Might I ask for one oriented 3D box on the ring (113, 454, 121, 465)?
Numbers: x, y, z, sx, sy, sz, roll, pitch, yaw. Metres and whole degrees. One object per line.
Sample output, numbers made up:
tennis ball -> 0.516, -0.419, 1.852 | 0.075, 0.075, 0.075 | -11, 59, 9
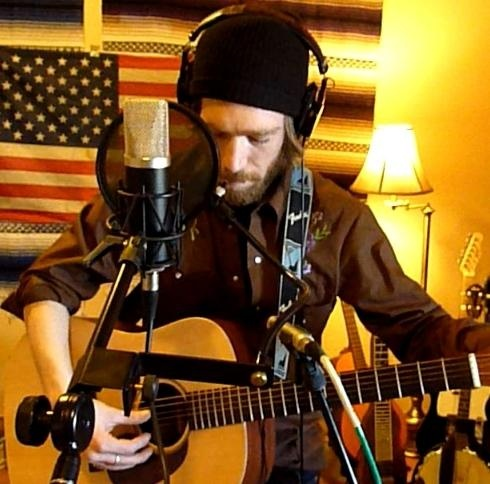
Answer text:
ring -> -0.384, 0.641, 2.023 | 0.017, 0.035, 0.007 | 1, 11, -11

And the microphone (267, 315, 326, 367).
microphone -> 0.126, 0.206, 1.422 | 0.136, 0.064, 0.040 | 10, 13, 44

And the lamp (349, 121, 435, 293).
lamp -> 0.724, -0.047, 3.080 | 0.244, 0.727, 0.232 | -7, -14, 15
